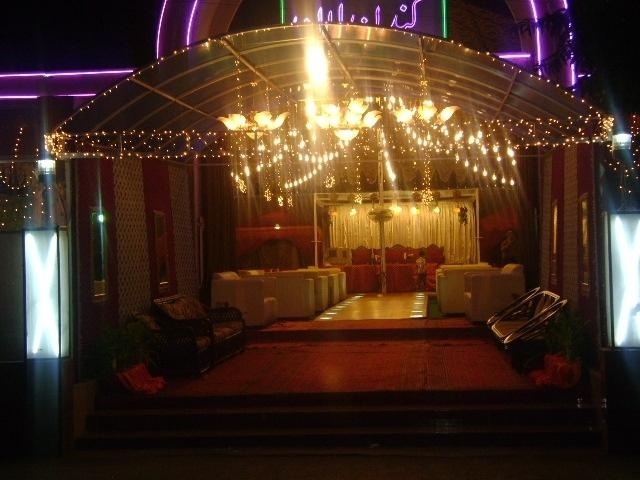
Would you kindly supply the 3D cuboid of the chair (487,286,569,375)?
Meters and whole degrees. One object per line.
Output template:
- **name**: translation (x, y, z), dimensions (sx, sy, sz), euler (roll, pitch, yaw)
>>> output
- **chair**: translation (3.098, 0.997, 8.395), dimensions (0.823, 0.869, 1.644), euler (-3, 2, 7)

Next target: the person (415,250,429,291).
- **person**: translation (3.415, 1.024, 19.109), dimensions (0.366, 1.347, 0.916), euler (-2, -3, 13)
